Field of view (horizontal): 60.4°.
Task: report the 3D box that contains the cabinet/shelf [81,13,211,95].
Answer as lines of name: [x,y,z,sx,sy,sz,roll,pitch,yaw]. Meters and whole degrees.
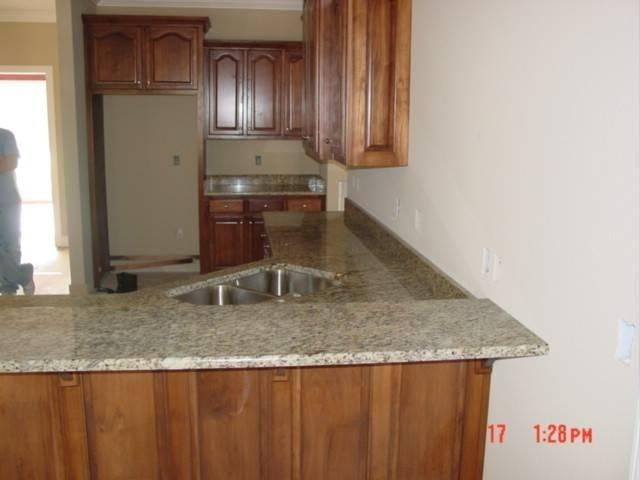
cabinet/shelf: [-1.637,-1.702,5.027,0.823,0.450,0.285,-1,12,-7]
